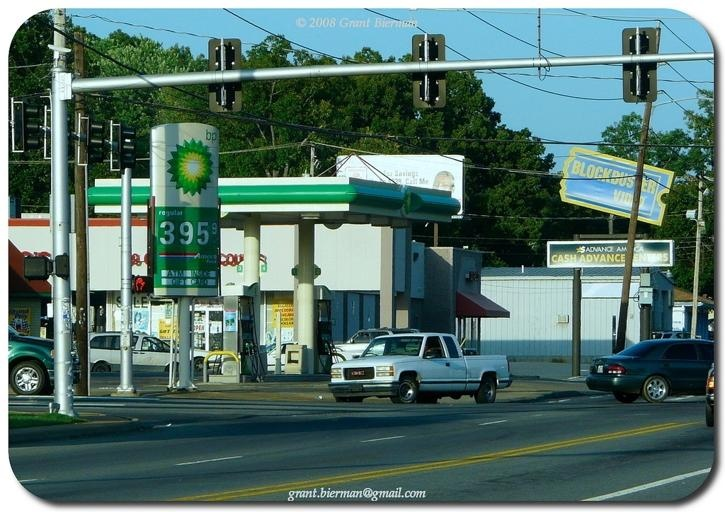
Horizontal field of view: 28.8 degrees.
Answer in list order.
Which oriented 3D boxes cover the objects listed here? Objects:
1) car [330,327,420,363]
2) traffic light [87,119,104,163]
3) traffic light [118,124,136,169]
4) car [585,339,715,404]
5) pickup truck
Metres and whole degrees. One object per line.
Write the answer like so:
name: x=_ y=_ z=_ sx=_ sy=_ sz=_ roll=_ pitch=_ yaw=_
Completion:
car: x=0.454 y=3.481 z=57.216 sx=2.896 sy=1.754 sz=5.867 roll=-4 pitch=-4 yaw=35
traffic light: x=-7.926 y=-3.460 z=41.941 sx=0.495 sy=1.340 sz=0.723 roll=0 pitch=-1 yaw=-11
traffic light: x=-7.135 y=-3.382 z=42.861 sx=0.431 sy=1.337 sz=0.867 roll=0 pitch=-1 yaw=-9
car: x=11.048 y=3.863 z=48.193 sx=6.676 sy=2.259 sz=2.757 roll=1 pitch=-3 yaw=-17
pickup truck: x=1.847 y=3.779 z=47.137 sx=3.379 sy=2.309 sz=6.421 roll=-5 pitch=-7 yaw=42
